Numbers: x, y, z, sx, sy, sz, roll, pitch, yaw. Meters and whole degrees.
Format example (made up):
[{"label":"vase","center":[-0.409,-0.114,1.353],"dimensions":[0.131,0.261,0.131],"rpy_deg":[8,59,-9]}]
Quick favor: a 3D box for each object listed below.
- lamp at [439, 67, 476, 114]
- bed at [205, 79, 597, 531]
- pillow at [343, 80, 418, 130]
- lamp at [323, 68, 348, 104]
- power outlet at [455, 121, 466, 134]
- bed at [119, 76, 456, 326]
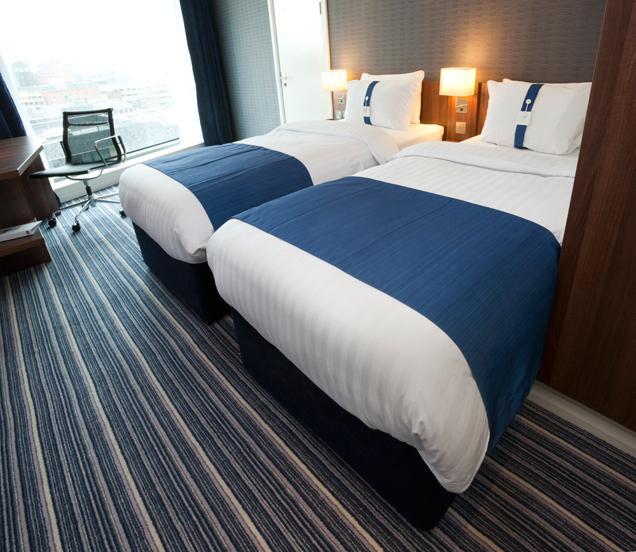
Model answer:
[{"label":"lamp","center":[1.156,-1.500,3.185],"dimensions":[0.257,0.405,0.276],"rpy_deg":[16,36,29]},{"label":"bed","center":[0.799,-0.173,2.255],"dimensions":[1.532,1.380,2.504],"rpy_deg":[26,46,36]},{"label":"pillow","center":[0.639,-1.578,3.652],"dimensions":[0.218,0.346,0.587],"rpy_deg":[-17,28,-38]},{"label":"lamp","center":[0.202,-2.016,4.206],"dimensions":[0.245,0.304,0.262],"rpy_deg":[-5,43,0]},{"label":"power outlet","center":[1.295,-1.311,3.475],"dimensions":[0.010,0.105,0.094],"rpy_deg":[-23,33,-34]},{"label":"bed","center":[-0.237,-0.607,3.082],"dimensions":[2.122,0.774,1.394],"rpy_deg":[-26,35,-35]}]
